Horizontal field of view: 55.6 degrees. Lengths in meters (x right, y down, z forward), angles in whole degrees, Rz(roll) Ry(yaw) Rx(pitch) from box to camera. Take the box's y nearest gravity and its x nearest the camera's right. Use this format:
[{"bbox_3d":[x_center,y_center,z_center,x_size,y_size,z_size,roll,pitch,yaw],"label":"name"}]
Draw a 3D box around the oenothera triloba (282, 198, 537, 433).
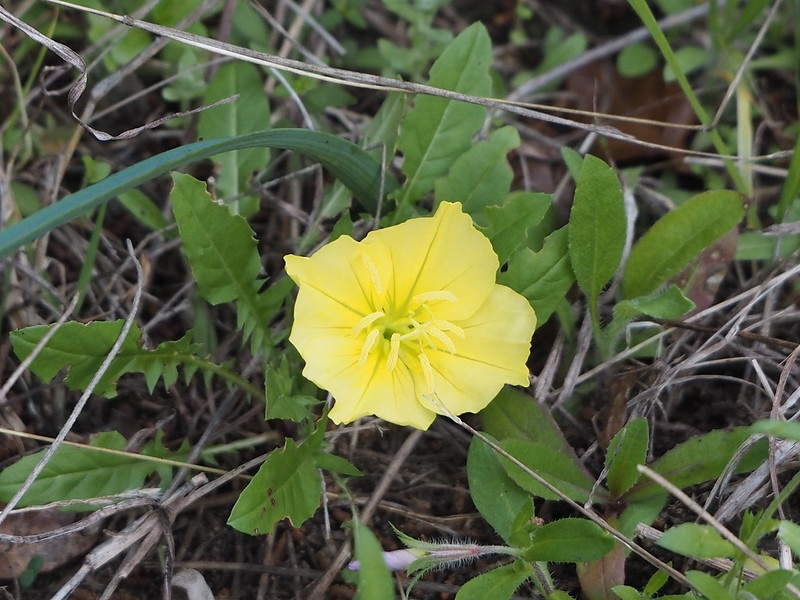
[{"bbox_3d":[0.053,0.080,2.605,0.813,0.307,0.710,-19,86,-1],"label":"oenothera triloba"}]
